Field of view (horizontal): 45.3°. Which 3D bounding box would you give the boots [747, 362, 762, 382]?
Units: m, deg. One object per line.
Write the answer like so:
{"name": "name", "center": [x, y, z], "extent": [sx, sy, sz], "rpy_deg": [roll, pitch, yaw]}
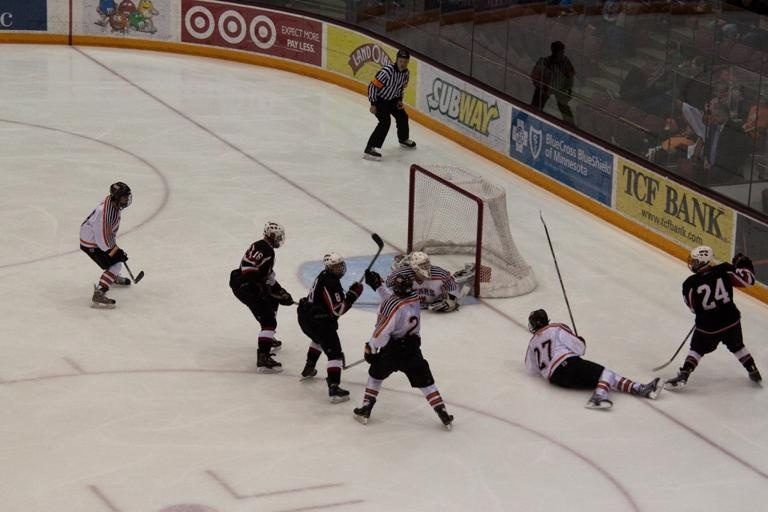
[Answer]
{"name": "boots", "center": [4.147, 1.286, 10.315], "extent": [0.111, 0.122, 0.283], "rpy_deg": [-12, 31, 0]}

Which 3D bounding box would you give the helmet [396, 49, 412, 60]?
{"name": "helmet", "center": [0.318, -3.269, 15.101], "extent": [0.225, 0.217, 0.271], "rpy_deg": [6, 15, -1]}

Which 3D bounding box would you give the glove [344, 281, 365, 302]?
{"name": "glove", "center": [-0.288, 0.398, 9.728], "extent": [0.089, 0.212, 0.163], "rpy_deg": [41, -5, -32]}

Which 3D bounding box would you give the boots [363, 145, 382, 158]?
{"name": "boots", "center": [-0.250, -1.743, 15.556], "extent": [0.371, 0.149, 0.135], "rpy_deg": [12, 1, 23]}

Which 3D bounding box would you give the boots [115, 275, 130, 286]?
{"name": "boots", "center": [-3.266, 0.318, 11.699], "extent": [0.276, 0.104, 0.081], "rpy_deg": [-3, 21, 0]}

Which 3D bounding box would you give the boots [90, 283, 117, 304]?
{"name": "boots", "center": [-3.449, 0.500, 11.274], "extent": [0.397, 0.240, 0.152], "rpy_deg": [3, 7, -8]}

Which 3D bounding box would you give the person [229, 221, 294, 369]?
{"name": "person", "center": [-1.359, 0.437, 10.237], "extent": [0.671, 1.536, 0.828], "rpy_deg": [0, 24, -10]}

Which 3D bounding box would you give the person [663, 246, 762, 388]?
{"name": "person", "center": [3.717, 0.706, 10.136], "extent": [0.937, 1.481, 0.848], "rpy_deg": [11, 24, 13]}

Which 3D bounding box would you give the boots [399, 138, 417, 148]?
{"name": "boots", "center": [0.406, -1.956, 16.000], "extent": [0.307, 0.111, 0.111], "rpy_deg": [6, 42, 7]}

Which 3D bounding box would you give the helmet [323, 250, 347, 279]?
{"name": "helmet", "center": [-0.504, 0.080, 9.733], "extent": [0.319, 0.266, 0.239], "rpy_deg": [9, 22, -6]}

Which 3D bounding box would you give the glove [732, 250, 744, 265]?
{"name": "glove", "center": [4.188, 0.021, 10.876], "extent": [0.097, 0.144, 0.156], "rpy_deg": [31, -2, 43]}

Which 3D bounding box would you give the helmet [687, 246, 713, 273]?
{"name": "helmet", "center": [3.488, 0.027, 10.271], "extent": [0.346, 0.267, 0.247], "rpy_deg": [1, 14, 11]}

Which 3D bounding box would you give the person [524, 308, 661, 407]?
{"name": "person", "center": [2.200, 1.080, 10.144], "extent": [0.929, 0.540, 1.468], "rpy_deg": [-10, 22, -40]}

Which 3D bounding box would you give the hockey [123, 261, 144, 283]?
{"name": "hockey", "center": [-3.162, 0.220, 11.685], "extent": [0.297, 0.277, 0.087], "rpy_deg": [30, 53, 26]}

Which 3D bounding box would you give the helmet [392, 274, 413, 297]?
{"name": "helmet", "center": [0.198, 0.298, 9.198], "extent": [0.186, 0.205, 0.216], "rpy_deg": [-1, 8, -38]}

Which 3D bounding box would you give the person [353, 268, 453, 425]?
{"name": "person", "center": [0.255, 0.929, 9.458], "extent": [1.029, 1.558, 0.756], "rpy_deg": [4, 24, -1]}

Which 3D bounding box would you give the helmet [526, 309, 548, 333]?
{"name": "helmet", "center": [1.712, 0.718, 10.352], "extent": [0.303, 0.248, 0.211], "rpy_deg": [3, 6, -1]}

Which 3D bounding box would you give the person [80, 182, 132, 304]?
{"name": "person", "center": [-3.510, -0.096, 11.639], "extent": [0.870, 1.627, 0.933], "rpy_deg": [1, 43, -16]}

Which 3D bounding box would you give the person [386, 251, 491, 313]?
{"name": "person", "center": [0.506, 0.272, 11.790], "extent": [1.168, 0.468, 1.348], "rpy_deg": [3, 22, 21]}
